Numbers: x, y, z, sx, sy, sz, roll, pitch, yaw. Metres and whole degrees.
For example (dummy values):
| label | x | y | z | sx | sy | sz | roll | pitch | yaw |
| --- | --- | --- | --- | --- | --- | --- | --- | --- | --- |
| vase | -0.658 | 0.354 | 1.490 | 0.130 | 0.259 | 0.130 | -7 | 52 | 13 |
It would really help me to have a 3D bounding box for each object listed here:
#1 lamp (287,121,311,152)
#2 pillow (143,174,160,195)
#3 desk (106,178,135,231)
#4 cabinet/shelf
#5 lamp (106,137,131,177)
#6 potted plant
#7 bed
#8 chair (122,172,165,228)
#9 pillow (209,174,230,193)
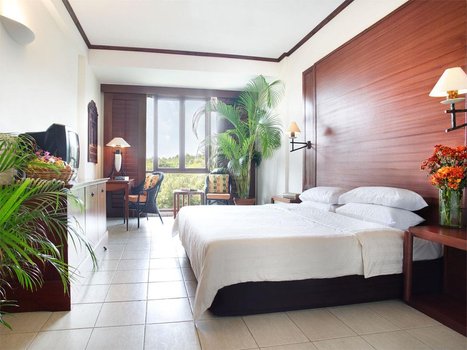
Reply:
| label | x | y | z | sx | sy | sz | roll | pitch | yaw |
| --- | --- | --- | --- | --- | --- | --- | --- | --- | --- |
| lamp | 0.986 | -0.595 | 4.848 | 0.355 | 0.485 | 0.227 | 0 | 0 | 14 |
| pillow | -1.488 | 0.169 | 5.896 | 0.104 | 0.347 | 0.341 | 22 | -2 | -36 |
| desk | -2.053 | 0.523 | 5.757 | 0.519 | 0.771 | 0.789 | 0 | 2 | -3 |
| cabinet/shelf | -1.389 | 0.569 | 2.447 | 0.257 | 0.517 | 1.012 | 0 | 0 | -17 |
| lamp | -2.208 | -0.352 | 6.084 | 0.394 | 0.648 | 0.409 | 0 | -8 | -25 |
| potted plant | 0.230 | -0.672 | 6.164 | 1.512 | 2.349 | 1.230 | 2 | 8 | 16 |
| bed | 0.472 | 0.587 | 2.638 | 1.160 | 0.313 | 1.219 | -2 | 5 | -12 |
| chair | -1.626 | 0.405 | 5.832 | 0.636 | 0.908 | 0.587 | 2 | 0 | 44 |
| pillow | -0.296 | 0.183 | 6.339 | 0.308 | 0.328 | 0.115 | 1 | -19 | -2 |
